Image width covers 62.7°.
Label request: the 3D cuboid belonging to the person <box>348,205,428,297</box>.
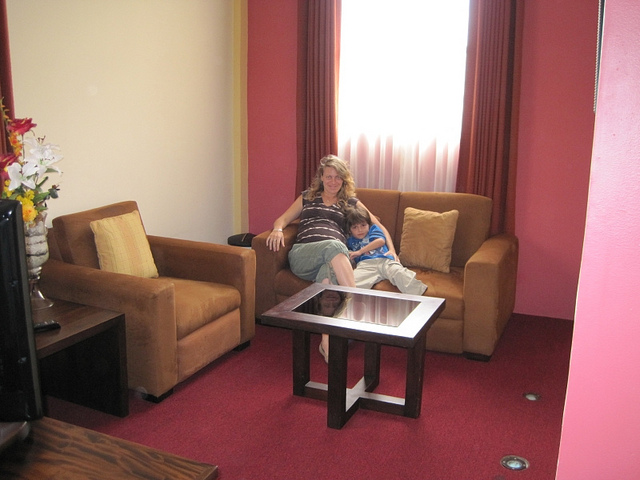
[{"bbox_3d":[0.335,0.072,3.658,0.463,0.563,0.735,-13,11,-13],"label":"person"}]

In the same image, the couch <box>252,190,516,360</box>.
[{"bbox_3d":[0.484,0.190,4.009,1.832,1.043,0.957,5,12,25],"label":"couch"}]

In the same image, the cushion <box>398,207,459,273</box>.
[{"bbox_3d":[0.772,-0.005,3.851,0.437,0.457,0.166,0,-7,23],"label":"cushion"}]

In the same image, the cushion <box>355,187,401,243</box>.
[{"bbox_3d":[0.447,-0.209,4.215,0.359,0.369,0.211,3,14,9],"label":"cushion"}]

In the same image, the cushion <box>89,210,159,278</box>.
[{"bbox_3d":[-1.201,0.027,3.196,0.111,0.362,0.381,-17,-5,25],"label":"cushion"}]

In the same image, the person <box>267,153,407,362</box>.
[{"bbox_3d":[0.136,0.061,3.778,0.886,1.342,0.949,1,6,-9],"label":"person"}]

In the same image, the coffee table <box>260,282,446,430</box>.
[{"bbox_3d":[0.214,0.626,3.031,0.795,0.694,1.021,7,13,22],"label":"coffee table"}]

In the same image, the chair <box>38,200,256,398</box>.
[{"bbox_3d":[-1.068,0.296,3.249,0.934,0.941,1.035,8,15,26],"label":"chair"}]

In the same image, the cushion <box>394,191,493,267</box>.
[{"bbox_3d":[1.076,0.003,4.189,0.626,0.618,0.245,3,-9,10],"label":"cushion"}]

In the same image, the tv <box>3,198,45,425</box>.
[{"bbox_3d":[-0.657,0.161,1.122,0.076,0.490,0.092,-4,15,-18],"label":"tv"}]
